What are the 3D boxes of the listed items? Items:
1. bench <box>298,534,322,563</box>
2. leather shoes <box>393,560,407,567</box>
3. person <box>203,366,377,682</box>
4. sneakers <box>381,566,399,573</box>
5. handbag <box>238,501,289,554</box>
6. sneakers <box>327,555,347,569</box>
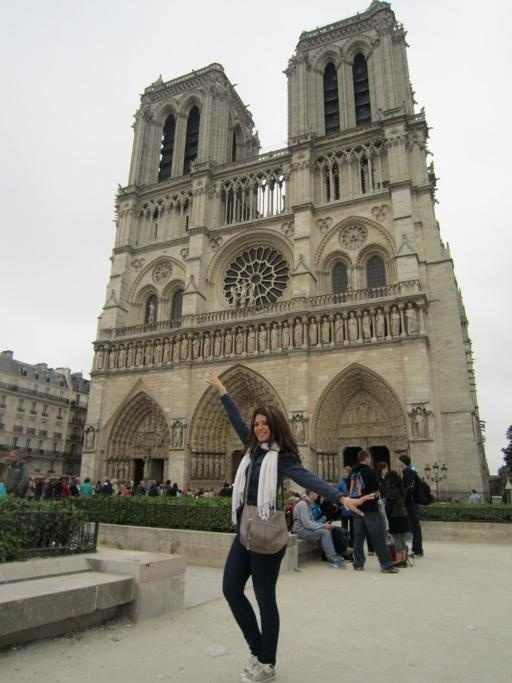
[{"bbox_3d":[0.904,3.551,8.627,0.324,0.284,0.600,-12,-19,38],"label":"bench"},{"bbox_3d":[2.292,3.478,7.835,0.265,0.089,0.154,5,-18,-24],"label":"leather shoes"},{"bbox_3d":[0.072,1.089,3.248,0.421,1.947,1.004,13,-23,-39],"label":"person"},{"bbox_3d":[1.940,3.325,7.306,0.258,0.110,0.118,-5,-5,11],"label":"sneakers"},{"bbox_3d":[0.073,1.147,3.135,0.421,0.272,0.245,-15,-30,33],"label":"handbag"},{"bbox_3d":[1.334,3.601,8.172,0.116,0.147,0.341,20,-27,-27],"label":"sneakers"}]
